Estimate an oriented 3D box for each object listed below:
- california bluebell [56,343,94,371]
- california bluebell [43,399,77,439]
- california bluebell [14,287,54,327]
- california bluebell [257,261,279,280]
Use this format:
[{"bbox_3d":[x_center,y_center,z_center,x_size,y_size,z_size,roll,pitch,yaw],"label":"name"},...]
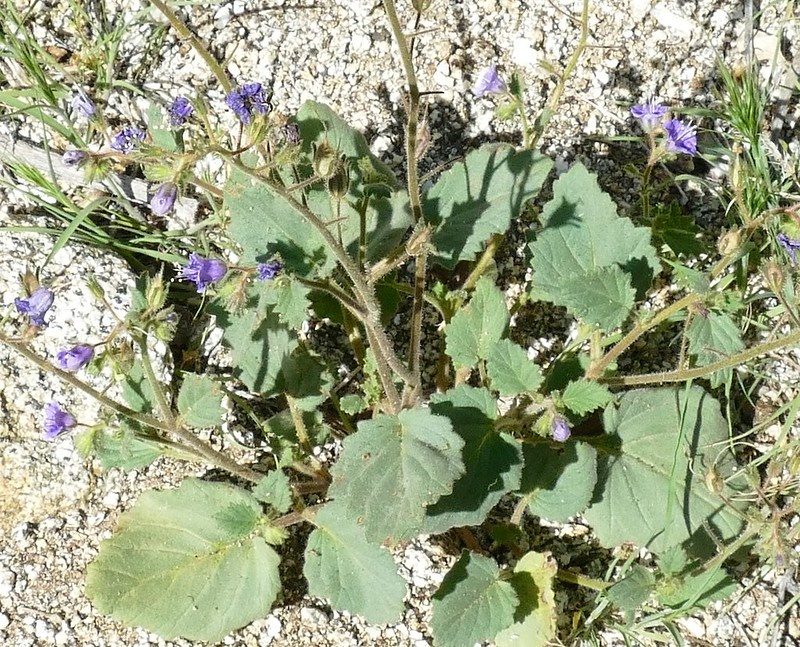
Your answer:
[{"bbox_3d":[-1.369,0.143,3.566,0.135,0.072,0.108,-21,69,-17],"label":"california bluebell"},{"bbox_3d":[-1.535,0.429,3.750,0.075,0.145,0.163,-18,67,30],"label":"california bluebell"},{"bbox_3d":[-1.513,-0.063,3.531,0.147,0.070,0.159,40,81,5],"label":"california bluebell"},{"bbox_3d":[-0.535,-0.213,3.433,0.064,0.073,0.044,-36,104,-51],"label":"california bluebell"}]
